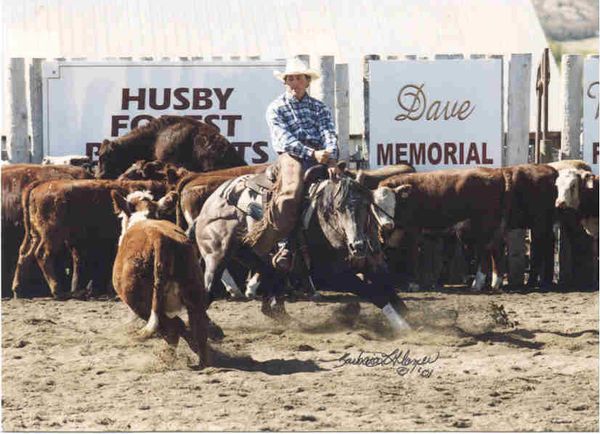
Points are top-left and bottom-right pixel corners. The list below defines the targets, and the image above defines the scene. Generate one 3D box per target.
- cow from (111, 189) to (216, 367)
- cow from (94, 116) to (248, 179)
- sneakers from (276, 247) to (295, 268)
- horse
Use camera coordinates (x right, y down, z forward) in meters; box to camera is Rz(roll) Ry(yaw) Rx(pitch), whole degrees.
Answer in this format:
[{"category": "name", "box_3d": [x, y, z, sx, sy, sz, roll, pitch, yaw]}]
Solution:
[{"category": "cow", "box_3d": [-1.511, 0.692, 12.332, 0.733, 1.652, 2.373, -6, 18, -15]}, {"category": "cow", "box_3d": [-1.748, -0.704, 15.092, 1.946, 1.370, 0.601, 6, -8, 1]}, {"category": "sneakers", "box_3d": [-0.180, 0.490, 13.425, 0.156, 0.261, 0.232, -1, 9, -4]}, {"category": "horse", "box_3d": [-0.198, 0.318, 14.111, 1.078, 1.981, 3.383, -13, 13, -40]}]
